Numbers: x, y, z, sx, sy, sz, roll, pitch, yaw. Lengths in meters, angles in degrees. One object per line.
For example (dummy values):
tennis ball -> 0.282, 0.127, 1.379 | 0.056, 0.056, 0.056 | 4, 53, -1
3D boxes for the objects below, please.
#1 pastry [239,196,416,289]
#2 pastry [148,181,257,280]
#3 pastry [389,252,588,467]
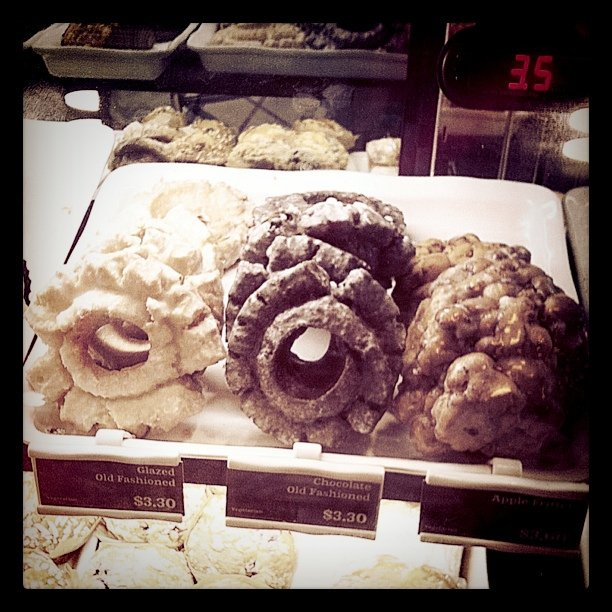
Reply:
pastry -> 0.104, -0.241, 2.320 | 0.461, 0.159, 0.364 | 8, 71, 0
pastry -> -0.351, -0.255, 2.486 | 0.337, 0.100, 0.384 | 18, 93, -1
pastry -> 0.732, 0.112, 2.481 | 0.692, 0.321, 0.971 | 12, 52, 15
